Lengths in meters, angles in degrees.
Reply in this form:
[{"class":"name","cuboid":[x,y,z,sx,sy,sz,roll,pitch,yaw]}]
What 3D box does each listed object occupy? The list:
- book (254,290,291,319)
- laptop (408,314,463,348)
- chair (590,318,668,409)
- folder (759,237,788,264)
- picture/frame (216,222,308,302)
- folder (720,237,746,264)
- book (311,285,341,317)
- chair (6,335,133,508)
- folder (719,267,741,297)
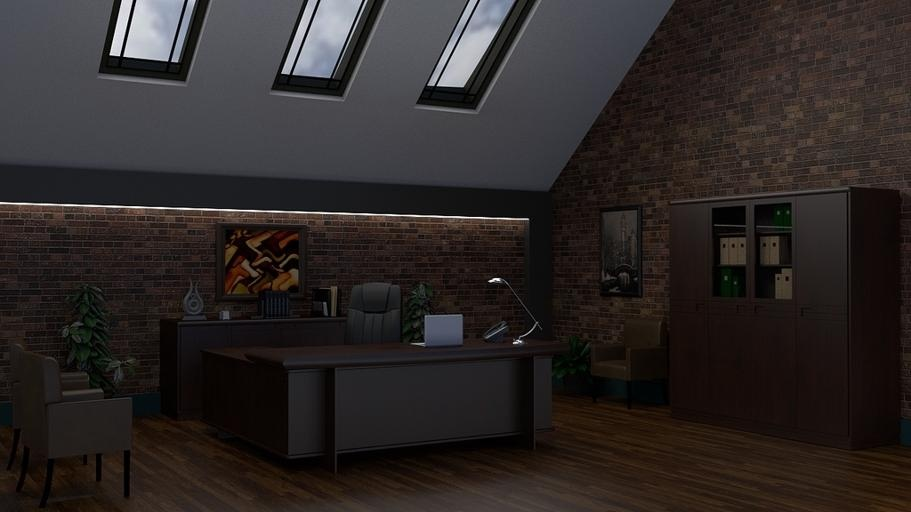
[{"class":"book","cuboid":[-3.000,0.784,9.326,0.467,0.428,0.189,-1,1,-20]},{"class":"laptop","cuboid":[-0.221,0.960,7.343,0.639,0.401,0.436,2,-2,-26]},{"class":"chair","cuboid":[2.971,1.771,9.532,0.943,1.401,0.844,-1,1,-31]},{"class":"folder","cuboid":[4.439,-0.089,7.896,0.353,0.440,0.483,-1,1,27]},{"class":"picture/frame","cuboid":[-3.356,0.091,9.545,1.532,1.177,0.144,0,-1,-24]},{"class":"folder","cuboid":[4.039,-0.048,8.307,0.353,0.425,0.466,1,-3,-7]},{"class":"book","cuboid":[-2.165,0.743,9.752,0.647,0.561,0.447,0,0,0]},{"class":"chair","cuboid":[-4.317,1.787,6.256,1.657,1.520,0.841,1,2,41]},{"class":"folder","cuboid":[4.066,0.384,8.467,0.376,0.490,0.391,-1,-2,21]}]
